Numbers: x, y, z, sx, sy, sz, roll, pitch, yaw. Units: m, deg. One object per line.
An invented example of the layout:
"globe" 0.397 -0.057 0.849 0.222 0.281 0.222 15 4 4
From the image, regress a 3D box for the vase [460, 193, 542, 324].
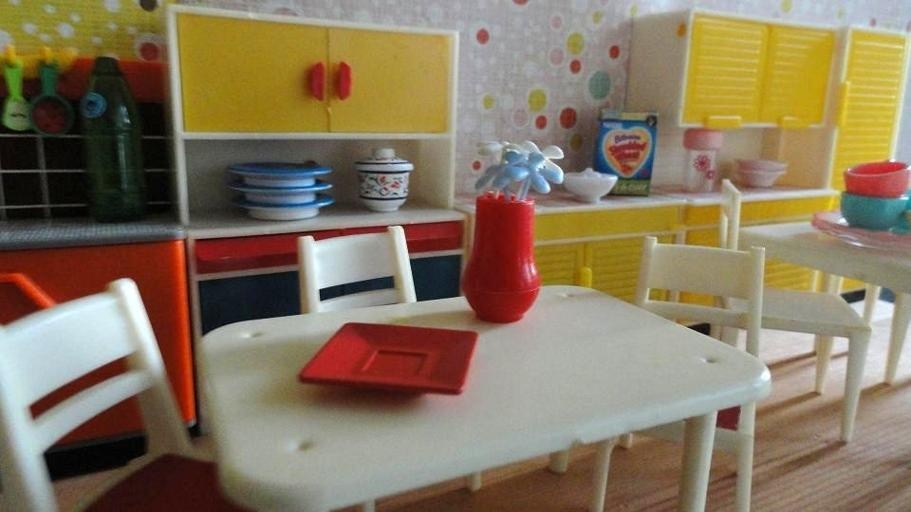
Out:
"vase" 0.166 0.004 2.182 0.272 0.416 0.138 -1 19 1

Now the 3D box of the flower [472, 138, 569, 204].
"flower" 0.238 -0.301 2.180 0.288 0.210 0.330 2 15 10
